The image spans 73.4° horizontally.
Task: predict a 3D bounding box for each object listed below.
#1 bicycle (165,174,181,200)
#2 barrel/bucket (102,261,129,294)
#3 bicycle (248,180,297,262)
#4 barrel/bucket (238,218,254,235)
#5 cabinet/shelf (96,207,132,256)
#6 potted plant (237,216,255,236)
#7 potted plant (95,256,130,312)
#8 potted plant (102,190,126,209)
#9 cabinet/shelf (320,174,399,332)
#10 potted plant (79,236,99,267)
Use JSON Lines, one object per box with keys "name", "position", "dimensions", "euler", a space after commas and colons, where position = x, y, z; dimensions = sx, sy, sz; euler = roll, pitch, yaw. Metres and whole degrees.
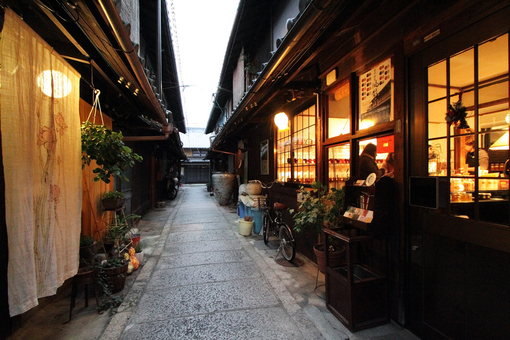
{"name": "bicycle", "position": [-4.713, 1.025, 19.189], "dimensions": [0.734, 1.035, 1.565], "euler": [0, -4, -9]}
{"name": "barrel/bucket", "position": [-2.547, 1.941, 6.177], "dimensions": [0.480, 0.447, 0.463], "euler": [-1, -5, 0]}
{"name": "bicycle", "position": [0.486, 1.202, 8.229], "dimensions": [0.887, 1.581, 2.502], "euler": [-4, 6, -14]}
{"name": "barrel/bucket", "position": [-0.281, 1.564, 9.353], "dimensions": [0.390, 0.328, 0.410], "euler": [2, -2, 0]}
{"name": "cabinet/shelf", "position": [-2.952, 1.330, 7.169], "dimensions": [0.434, 0.763, 0.519], "euler": [17, -3, -39]}
{"name": "potted plant", "position": [-0.266, 1.561, 9.381], "dimensions": [0.422, 0.345, 0.444], "euler": [3, -1, -14]}
{"name": "potted plant", "position": [-2.456, 1.972, 5.894], "dimensions": [0.573, 0.499, 0.643], "euler": [1, -5, -9]}
{"name": "potted plant", "position": [-3.002, 0.649, 7.186], "dimensions": [0.333, 0.347, 0.511], "euler": [-1, 2, -11]}
{"name": "cabinet/shelf", "position": [1.656, 1.263, 5.609], "dimensions": [0.728, 2.274, 0.915], "euler": [-1, 1, -14]}
{"name": "potted plant", "position": [-3.071, 1.489, 6.214], "dimensions": [0.434, 0.489, 0.437], "euler": [0, 1, -11]}
